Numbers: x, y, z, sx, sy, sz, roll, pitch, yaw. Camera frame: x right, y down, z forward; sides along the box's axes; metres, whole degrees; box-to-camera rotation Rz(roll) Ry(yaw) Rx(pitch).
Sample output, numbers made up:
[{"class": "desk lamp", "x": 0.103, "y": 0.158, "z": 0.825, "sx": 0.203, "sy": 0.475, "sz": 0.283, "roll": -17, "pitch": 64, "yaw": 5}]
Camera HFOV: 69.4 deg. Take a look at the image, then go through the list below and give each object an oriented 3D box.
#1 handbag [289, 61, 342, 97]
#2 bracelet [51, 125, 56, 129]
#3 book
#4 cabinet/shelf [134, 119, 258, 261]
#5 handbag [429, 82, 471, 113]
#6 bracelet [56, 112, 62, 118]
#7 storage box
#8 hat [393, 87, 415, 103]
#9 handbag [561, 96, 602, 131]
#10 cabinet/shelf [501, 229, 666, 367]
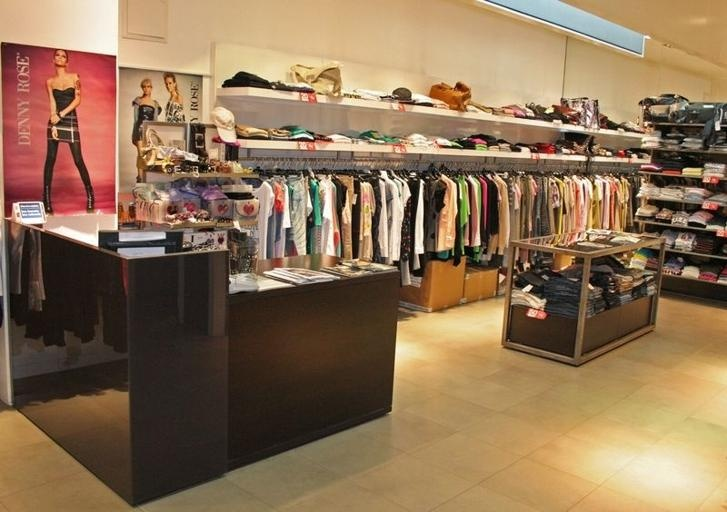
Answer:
[{"class": "handbag", "x": -0.555, "y": -2.035, "z": 6.110, "sx": 0.484, "sy": 0.204, "sz": 0.469, "roll": 3, "pitch": 3, "yaw": 28}, {"class": "bracelet", "x": -2.409, "y": -1.016, "z": 4.108, "sx": 0.037, "sy": 0.019, "sz": 0.024, "roll": -3, "pitch": 8, "yaw": -19}, {"class": "book", "x": -0.440, "y": 0.100, "z": 4.152, "sx": 1.186, "sy": 0.051, "sz": 0.765, "roll": -6, "pitch": 16, "yaw": -34}, {"class": "cabinet/shelf", "x": -1.684, "y": -0.730, "z": 5.277, "sx": 1.117, "sy": 1.183, "sz": 1.000, "roll": -6, "pitch": 17, "yaw": -34}, {"class": "handbag", "x": 1.200, "y": -2.274, "z": 7.473, "sx": 0.539, "sy": 0.205, "sz": 0.490, "roll": 0, "pitch": 18, "yaw": -30}, {"class": "bracelet", "x": -2.366, "y": -1.107, "z": 4.111, "sx": 0.036, "sy": 0.031, "sz": 0.011, "roll": 10, "pitch": -32, "yaw": -44}, {"class": "storage box", "x": 1.056, "y": 0.320, "z": 7.381, "sx": 1.483, "sy": 0.584, "sz": 0.754, "roll": -7, "pitch": 13, "yaw": -39}, {"class": "hat", "x": 0.512, "y": -2.084, "z": 6.818, "sx": 0.266, "sy": 0.201, "sz": 0.304, "roll": 4, "pitch": 14, "yaw": 2}, {"class": "handbag", "x": 3.923, "y": -2.559, "z": 9.365, "sx": 0.262, "sy": 0.631, "sz": 0.707, "roll": -9, "pitch": 11, "yaw": 22}, {"class": "cabinet/shelf", "x": 2.546, "y": 0.384, "z": 6.103, "sx": 1.865, "sy": 1.267, "sz": 0.895, "roll": -9, "pitch": 19, "yaw": -40}]
